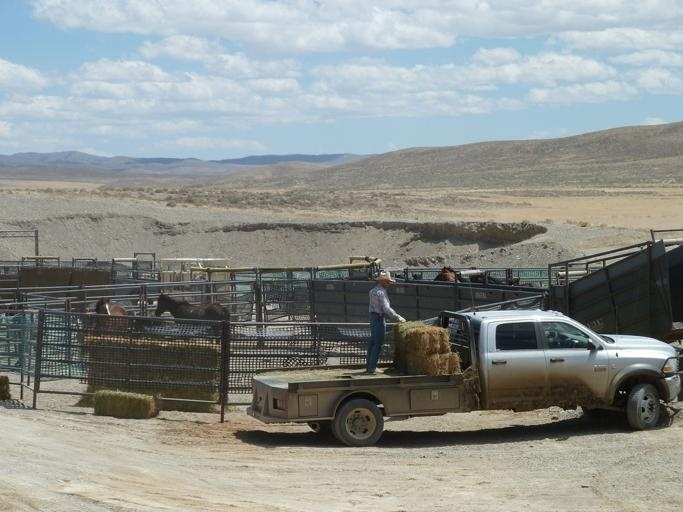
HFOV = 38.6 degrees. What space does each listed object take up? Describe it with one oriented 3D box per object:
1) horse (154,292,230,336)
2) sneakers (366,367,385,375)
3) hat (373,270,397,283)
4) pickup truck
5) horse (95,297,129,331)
[{"bbox_3d":[-3.725,1.631,24.209,2.057,1.134,0.476,4,9,16],"label":"horse"},{"bbox_3d":[0.635,2.129,18.040,0.353,0.134,0.107,-7,2,2],"label":"sneakers"},{"bbox_3d":[0.793,0.389,18.392,0.472,0.150,0.380,1,-4,9],"label":"hat"},{"bbox_3d":[2.523,2.193,17.830,7.573,2.377,1.197,1,8,-10],"label":"pickup truck"},{"bbox_3d":[-5.006,1.263,21.082,0.821,0.646,0.541,1,0,12],"label":"horse"}]
